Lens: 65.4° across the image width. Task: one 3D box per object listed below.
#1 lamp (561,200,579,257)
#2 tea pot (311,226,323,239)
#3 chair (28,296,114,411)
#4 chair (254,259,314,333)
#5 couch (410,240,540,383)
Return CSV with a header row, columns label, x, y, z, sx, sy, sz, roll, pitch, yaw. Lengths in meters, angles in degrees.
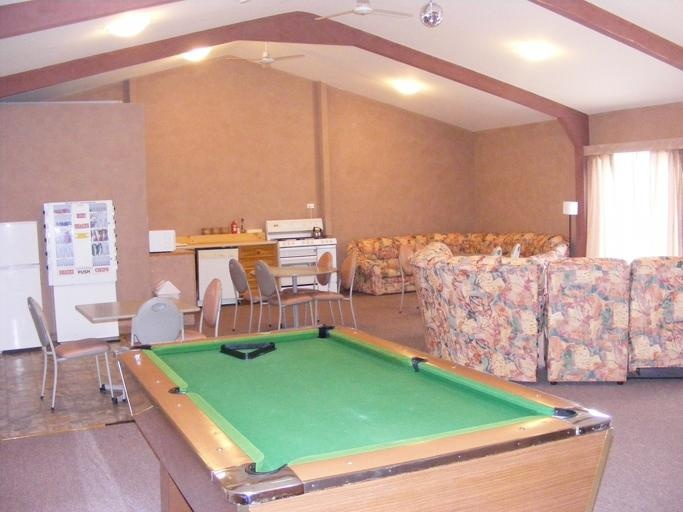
label,x,y,z,sx,sy,sz,roll,pitch,yaw
lamp,3.789,-0.348,8.851,0.239,1.077,0.214,4,7,29
tea pot,-0.451,-0.439,9.804,0.215,0.214,0.375,-3,9,-3
chair,-2.424,0.843,4.828,0.698,0.904,0.593,-1,0,-42
chair,-0.726,0.511,6.795,0.592,0.867,0.507,-9,6,-33
couch,1.552,0.439,5.638,1.294,1.222,1.333,-5,6,-13
